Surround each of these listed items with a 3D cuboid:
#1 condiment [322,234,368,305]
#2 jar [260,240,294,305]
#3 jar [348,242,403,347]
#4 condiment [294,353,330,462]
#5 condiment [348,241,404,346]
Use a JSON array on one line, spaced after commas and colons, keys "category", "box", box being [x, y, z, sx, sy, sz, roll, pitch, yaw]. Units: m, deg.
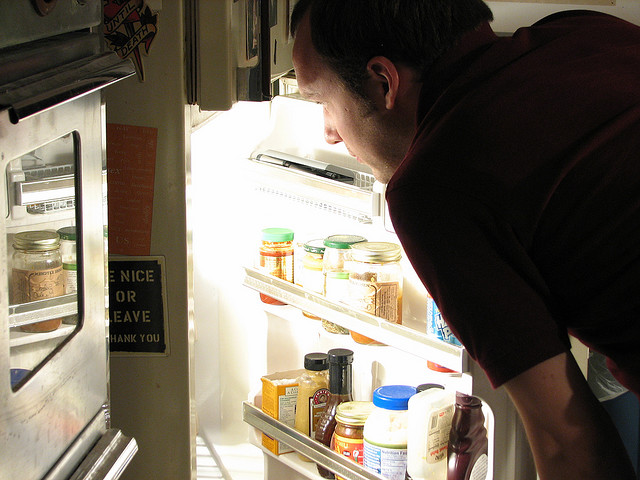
[{"category": "condiment", "box": [0.074, 0.095, 1.459, 0.107, 0.200, 0.117, -7, 10, 11]}, {"category": "jar", "box": [-0.125, 0.079, 1.636, 0.108, 0.204, 0.112, 0, 6, 0]}, {"category": "jar", "box": [0.125, 0.098, 1.340, 0.114, 0.270, 0.107, 0, 15, 0]}, {"category": "condiment", "box": [-0.007, 0.429, 1.504, 0.097, 0.269, 0.102, -6, 18, -20]}, {"category": "condiment", "box": [0.137, 0.096, 1.353, 0.114, 0.272, 0.107, -9, 18, -32]}]
